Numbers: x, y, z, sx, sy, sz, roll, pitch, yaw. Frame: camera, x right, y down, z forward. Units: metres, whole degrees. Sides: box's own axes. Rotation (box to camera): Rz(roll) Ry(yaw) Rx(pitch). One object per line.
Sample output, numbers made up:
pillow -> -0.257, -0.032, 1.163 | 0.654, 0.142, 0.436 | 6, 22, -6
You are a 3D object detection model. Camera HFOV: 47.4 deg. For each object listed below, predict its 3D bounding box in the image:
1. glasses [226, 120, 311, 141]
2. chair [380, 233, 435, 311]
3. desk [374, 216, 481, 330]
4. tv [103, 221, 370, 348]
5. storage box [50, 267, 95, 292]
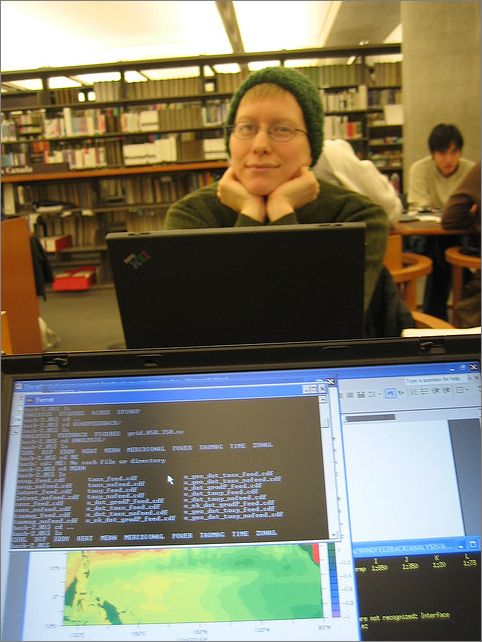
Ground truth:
glasses -> 0.051, -0.345, 0.999 | 0.129, 0.037, 0.050 | 0, 17, 8
chair -> 0.731, -0.226, 2.495 | 0.188, 0.274, 0.194 | 27, 20, 27
desk -> 0.873, -0.228, 2.454 | 0.485, 0.602, 0.482 | 3, 31, 24
tv -> 0.015, -0.096, 0.745 | 0.312, 0.189, 0.217 | -4, 41, 13
storage box -> -1.664, -0.413, 5.469 | 0.421, 0.195, 0.385 | 0, 16, 6
